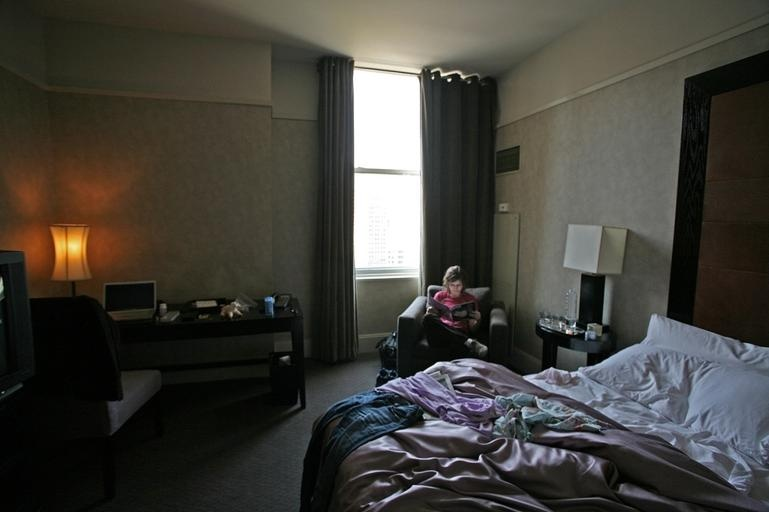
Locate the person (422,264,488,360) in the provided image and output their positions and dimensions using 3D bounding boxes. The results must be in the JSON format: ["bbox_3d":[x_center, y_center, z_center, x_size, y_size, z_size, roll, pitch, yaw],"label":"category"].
[{"bbox_3d":[0.693,0.517,5.529,0.593,0.815,0.797,6,-4,-1],"label":"person"}]

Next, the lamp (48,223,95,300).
[{"bbox_3d":[-2.871,0.020,5.104,0.322,0.622,0.153,-6,7,-32],"label":"lamp"}]

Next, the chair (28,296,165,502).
[{"bbox_3d":[-2.453,1.007,4.617,1.172,1.560,1.170,-6,11,-27],"label":"chair"}]

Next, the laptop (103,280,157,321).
[{"bbox_3d":[-2.309,0.417,5.051,0.311,0.273,0.123,0,-10,-13],"label":"laptop"}]

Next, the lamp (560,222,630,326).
[{"bbox_3d":[1.921,0.169,5.056,0.390,0.918,0.395,-5,7,-26],"label":"lamp"}]

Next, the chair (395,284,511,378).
[{"bbox_3d":[0.740,0.829,5.819,1.082,0.910,1.073,4,9,19],"label":"chair"}]
